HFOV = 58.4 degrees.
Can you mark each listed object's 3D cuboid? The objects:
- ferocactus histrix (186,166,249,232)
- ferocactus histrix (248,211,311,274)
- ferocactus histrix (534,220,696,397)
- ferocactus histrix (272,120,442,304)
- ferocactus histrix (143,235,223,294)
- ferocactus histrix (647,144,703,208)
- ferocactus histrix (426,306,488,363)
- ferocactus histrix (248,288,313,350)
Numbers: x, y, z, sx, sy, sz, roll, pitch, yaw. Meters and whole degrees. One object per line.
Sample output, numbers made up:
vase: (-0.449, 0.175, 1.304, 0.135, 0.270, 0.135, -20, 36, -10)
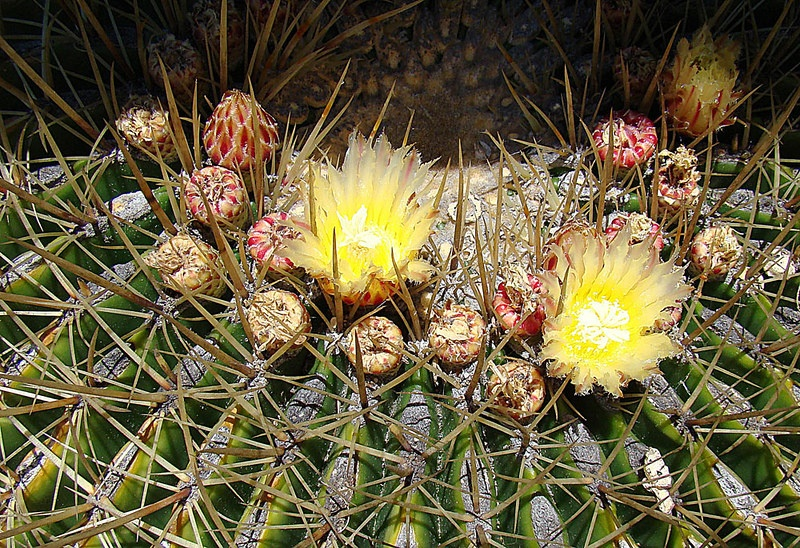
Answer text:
ferocactus histrix: (-0.336, -0.144, 1.321, 0.103, 0.111, 0.111, -5, 84, -9)
ferocactus histrix: (-0.224, -0.061, 1.300, 0.106, 0.049, 0.109, -34, 78, 0)
ferocactus histrix: (0.350, 0.067, 1.268, 0.279, 0.120, 0.289, -20, 83, -8)
ferocactus histrix: (-0.067, -0.080, 1.260, 0.254, 0.228, 0.270, 4, 46, 3)
ferocactus histrix: (-0.378, -0.013, 1.277, 0.128, 0.060, 0.103, 31, 80, 0)
ferocactus histrix: (0.531, -0.187, 1.398, 0.067, 0.099, 0.077, 19, 58, 27)
ferocactus histrix: (0.096, 0.108, 1.267, 0.098, 0.066, 0.099, 9, 47, 7)
ferocactus histrix: (-0.216, 0.080, 1.252, 0.109, 0.069, 0.099, -6, 47, -7)
